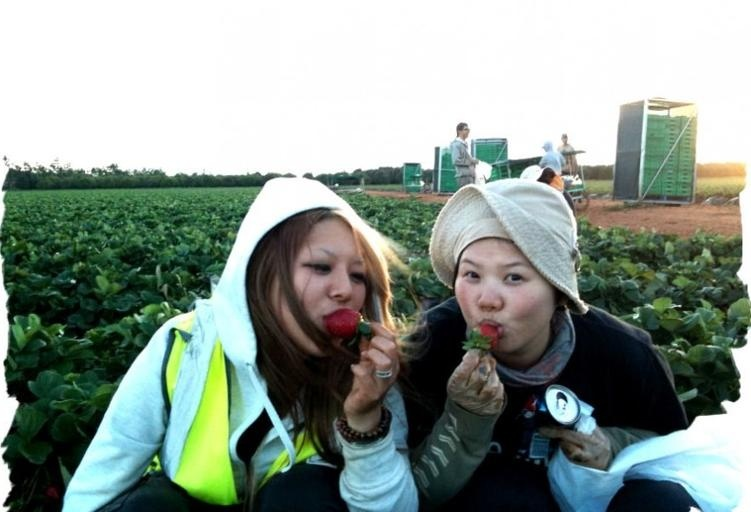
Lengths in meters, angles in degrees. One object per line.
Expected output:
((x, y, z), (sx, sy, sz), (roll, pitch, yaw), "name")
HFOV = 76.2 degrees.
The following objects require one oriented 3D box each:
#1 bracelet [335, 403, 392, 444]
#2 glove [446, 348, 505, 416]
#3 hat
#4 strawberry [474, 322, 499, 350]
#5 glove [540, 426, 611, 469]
((-0.056, 0.840, 2.379), (0.273, 0.125, 0.127), (-2, 7, -7), "bracelet")
((0.488, 0.622, 2.340), (0.264, 0.350, 0.125), (0, 6, 8), "glove")
((0.698, -0.046, 2.527), (0.814, 0.720, 0.410), (-1, 6, 6), "hat")
((0.557, 0.370, 2.327), (0.107, 0.134, 0.116), (38, -6, 6), "strawberry")
((1.053, 1.008, 2.519), (0.349, 0.229, 0.078), (-1, 6, 5), "glove")
